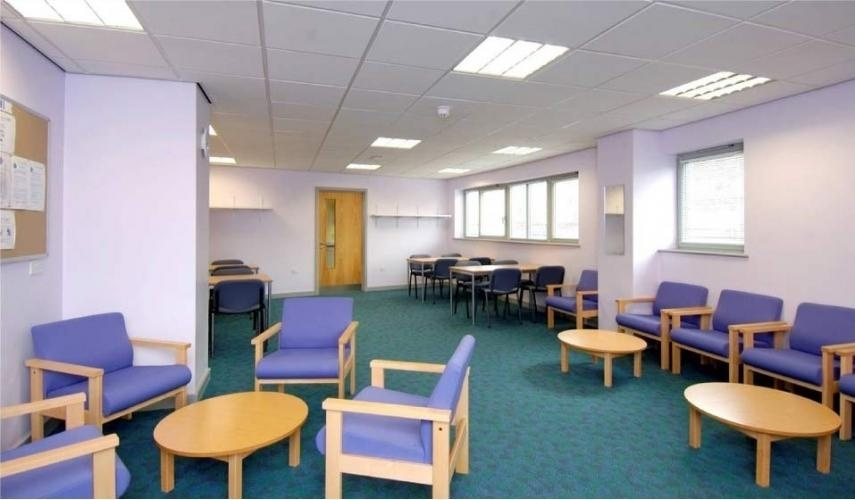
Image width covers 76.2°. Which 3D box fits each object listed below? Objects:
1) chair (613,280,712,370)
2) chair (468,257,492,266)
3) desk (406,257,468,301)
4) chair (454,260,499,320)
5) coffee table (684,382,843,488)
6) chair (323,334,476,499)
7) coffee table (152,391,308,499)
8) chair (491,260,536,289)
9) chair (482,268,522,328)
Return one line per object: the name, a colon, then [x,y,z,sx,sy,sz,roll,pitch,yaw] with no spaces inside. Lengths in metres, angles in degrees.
chair: [3.599,1.104,8.376,1.340,1.300,1.299,0,0,-23]
chair: [1.173,0.243,11.998,0.291,0.287,0.251,5,-5,-19]
desk: [0.237,0.584,12.590,1.361,0.867,1.027,-2,3,-31]
chair: [0.904,0.837,10.866,1.046,1.065,1.278,1,4,27]
coffee table: [3.593,1.821,5.818,1.157,0.475,1.155,-2,6,-19]
chair: [-0.222,1.554,6.040,1.731,1.547,1.742,2,-2,8]
coffee table: [-2.076,1.907,5.582,1.175,0.364,1.096,3,10,13]
chair: [1.843,0.386,10.915,0.554,0.341,0.825,0,3,-23]
chair: [1.415,0.816,10.576,0.700,0.999,1.863,-1,1,6]
